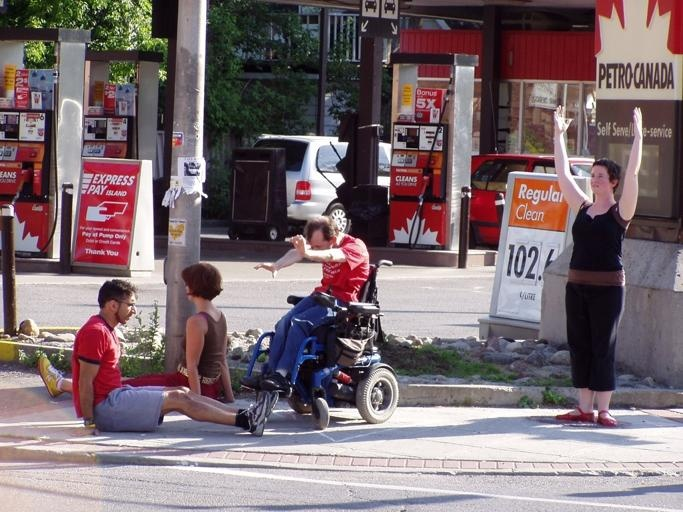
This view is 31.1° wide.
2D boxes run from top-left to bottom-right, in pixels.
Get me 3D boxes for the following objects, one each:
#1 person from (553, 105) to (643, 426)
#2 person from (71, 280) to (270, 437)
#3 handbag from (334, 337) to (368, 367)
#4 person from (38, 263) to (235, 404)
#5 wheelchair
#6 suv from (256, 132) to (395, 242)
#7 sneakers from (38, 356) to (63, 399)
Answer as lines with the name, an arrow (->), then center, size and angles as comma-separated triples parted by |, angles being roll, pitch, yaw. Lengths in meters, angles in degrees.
person -> 2.325, 0.103, 11.316 | 0.768, 2.929, 0.440 | 2, 2, 18
person -> -1.513, 0.938, 11.172 | 1.653, 1.522, 1.004 | 2, 1, -7
handbag -> 0.087, 0.874, 11.056 | 0.183, 0.253, 0.257 | 0, -14, 29
person -> -1.917, 0.771, 11.452 | 1.616, 1.534, 0.744 | 1, -3, 7
wheelchair -> -0.230, 0.785, 11.405 | 1.361, 1.556, 1.168 | 4, -2, -24
suv -> -0.383, -1.426, 24.984 | 1.487, 2.027, 4.056 | 1, 2, 32
sneakers -> -2.807, 1.185, 11.779 | 0.110, 0.337, 0.112 | -9, 22, 16
